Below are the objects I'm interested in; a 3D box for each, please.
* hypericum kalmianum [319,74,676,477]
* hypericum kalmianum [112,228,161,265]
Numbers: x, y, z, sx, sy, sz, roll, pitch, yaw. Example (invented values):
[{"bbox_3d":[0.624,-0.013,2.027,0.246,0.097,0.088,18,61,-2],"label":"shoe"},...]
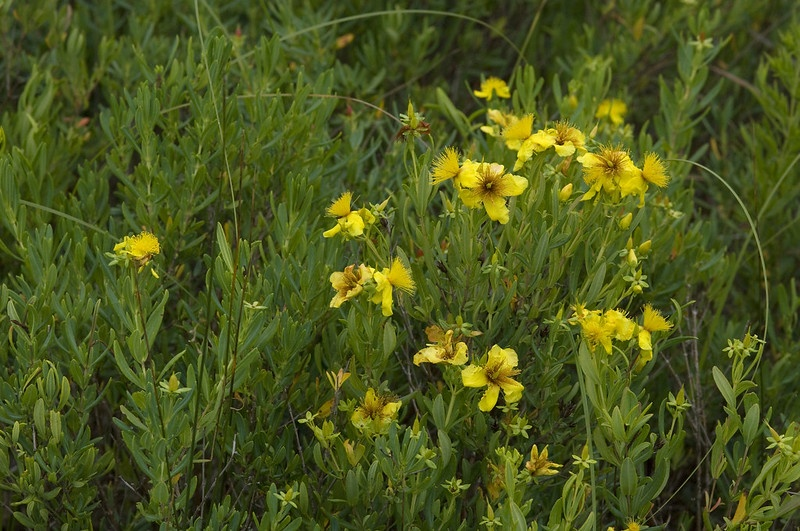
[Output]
[{"bbox_3d":[0.286,0.041,2.871,0.975,1.160,1.167,-5,77,-3],"label":"hypericum kalmianum"},{"bbox_3d":[-0.701,-0.054,2.282,0.095,0.068,0.125,12,20,2],"label":"hypericum kalmianum"}]
